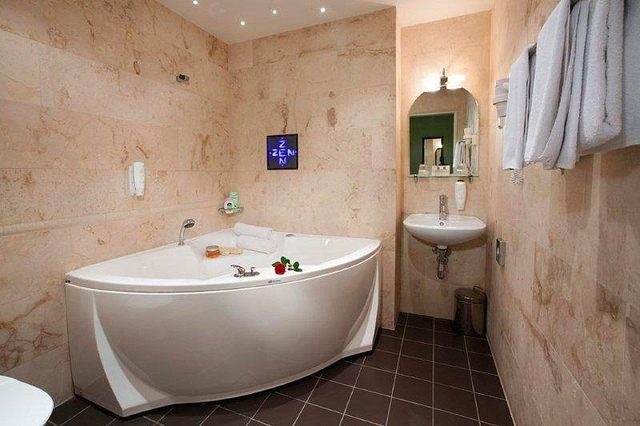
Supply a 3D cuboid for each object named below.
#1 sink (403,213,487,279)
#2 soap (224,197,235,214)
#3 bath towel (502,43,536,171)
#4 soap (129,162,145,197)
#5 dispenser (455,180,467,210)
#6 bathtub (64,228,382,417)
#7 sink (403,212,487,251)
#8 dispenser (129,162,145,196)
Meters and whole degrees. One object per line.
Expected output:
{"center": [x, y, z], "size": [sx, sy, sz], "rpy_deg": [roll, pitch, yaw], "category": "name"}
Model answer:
{"center": [1.093, 0.324, 3.679], "size": [0.661, 0.577, 0.497], "rpy_deg": [0, 9, 11], "category": "sink"}
{"center": [-0.925, -0.070, 4.191], "size": [0.119, 0.182, 0.098], "rpy_deg": [2, 10, 22], "category": "soap"}
{"center": [1.100, -0.557, 2.288], "size": [0.102, 0.560, 0.521], "rpy_deg": [4, 9, 13], "category": "bath towel"}
{"center": [-1.489, -0.277, 3.356], "size": [0.103, 0.277, 0.081], "rpy_deg": [-2, 9, 0], "category": "soap"}
{"center": [1.278, -0.160, 3.746], "size": [0.087, 0.269, 0.058], "rpy_deg": [-1, 9, 6], "category": "dispenser"}
{"center": [-0.668, 0.799, 3.358], "size": [2.419, 0.975, 1.166], "rpy_deg": [-5, 10, -23], "category": "bathtub"}
{"center": [1.093, 0.183, 3.674], "size": [0.662, 0.329, 0.535], "rpy_deg": [0, 9, 11], "category": "sink"}
{"center": [-1.489, -0.288, 3.357], "size": [0.056, 0.231, 0.165], "rpy_deg": [1, -1, 44], "category": "dispenser"}
